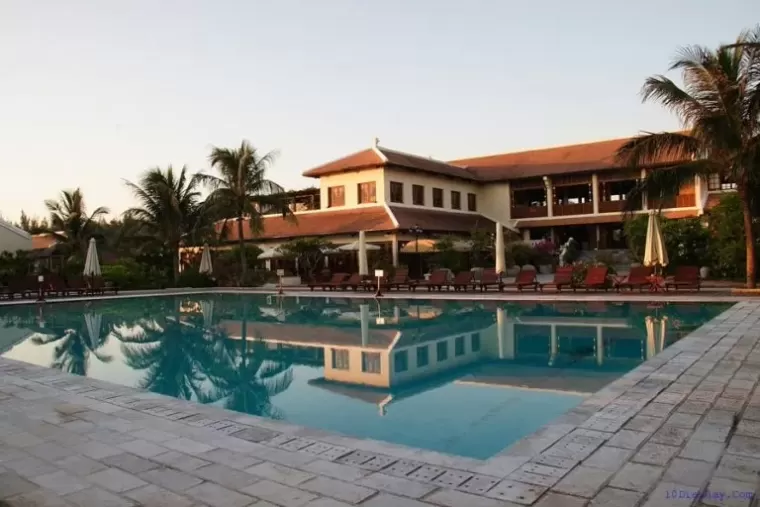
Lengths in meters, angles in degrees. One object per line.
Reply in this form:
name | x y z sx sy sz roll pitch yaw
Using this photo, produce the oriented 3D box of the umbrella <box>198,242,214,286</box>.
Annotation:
umbrella | -11.657 0.668 35.177 0.924 2.683 2.456 -2 0 -17
